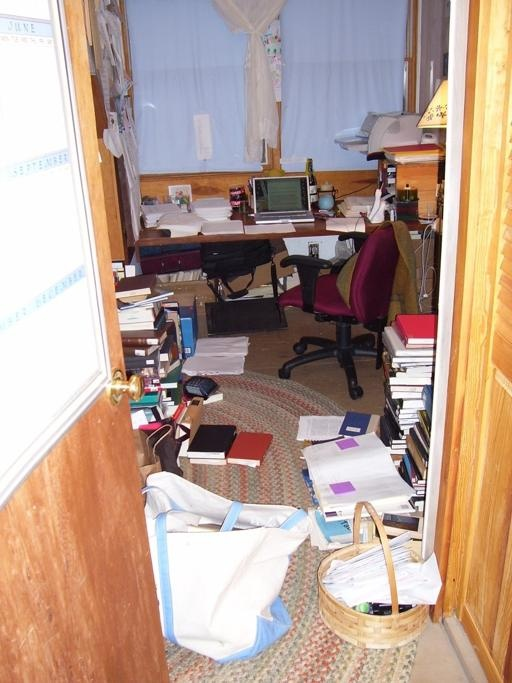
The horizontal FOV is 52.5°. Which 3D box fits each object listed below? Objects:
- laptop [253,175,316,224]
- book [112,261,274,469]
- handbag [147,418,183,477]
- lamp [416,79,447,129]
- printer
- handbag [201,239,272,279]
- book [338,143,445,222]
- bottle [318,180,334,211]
[{"bbox_3d":[0.187,-1.066,3.866,0.486,0.357,0.361,-3,24,-2],"label":"laptop"},{"bbox_3d":[-0.274,0.259,2.892,0.877,0.229,0.983,-1,54,-7],"label":"book"},{"bbox_3d":[-0.410,0.468,2.288,0.111,0.208,0.160,-3,37,8],"label":"handbag"},{"bbox_3d":[0.949,-1.275,2.791,0.138,0.230,0.468,2,21,17],"label":"lamp"},{"bbox_3d":[0.889,-1.531,3.812,0.600,0.241,0.455,-2,39,6],"label":"printer"},{"bbox_3d":[-0.142,-0.634,3.908,0.395,0.159,0.320,-3,21,-2],"label":"handbag"},{"bbox_3d":[0.950,-1.119,3.517,0.476,0.573,0.589,-2,17,2],"label":"book"},{"bbox_3d":[0.540,-1.113,3.997,0.123,0.184,0.344,-1,21,8],"label":"bottle"}]
